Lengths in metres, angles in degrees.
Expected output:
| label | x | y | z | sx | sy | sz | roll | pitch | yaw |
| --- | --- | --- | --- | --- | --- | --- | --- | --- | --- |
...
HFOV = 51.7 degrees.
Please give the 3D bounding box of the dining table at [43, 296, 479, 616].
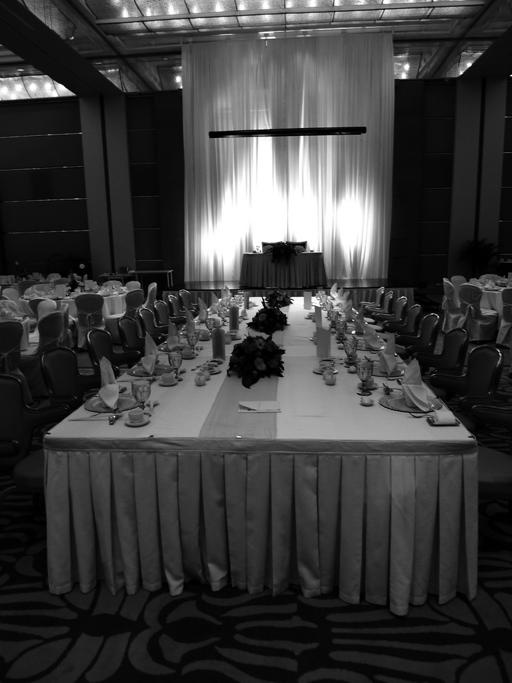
| label | x | y | z | sx | sy | sz | roll | pitch | yaw |
| --- | --- | --- | --- | --- | --- | --- | --- | --- | --- |
| dining table | 0.026 | 0.550 | 2.612 | 1.128 | 0.585 | 2.199 | -1 | 5 | 5 |
